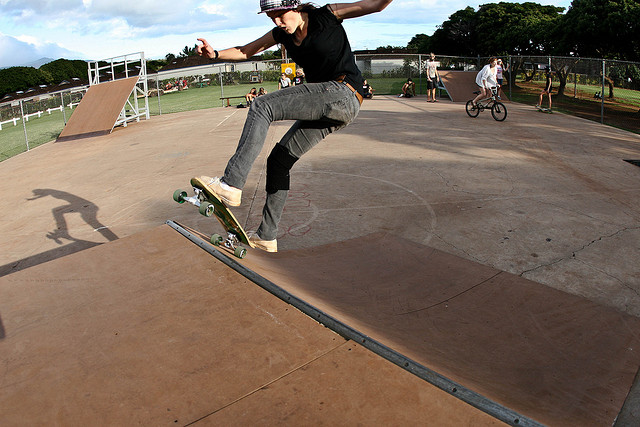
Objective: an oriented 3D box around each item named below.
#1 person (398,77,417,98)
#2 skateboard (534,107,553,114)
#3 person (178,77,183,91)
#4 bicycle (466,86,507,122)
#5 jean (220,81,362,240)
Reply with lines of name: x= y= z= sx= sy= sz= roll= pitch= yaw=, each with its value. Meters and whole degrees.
person: x=5.445 y=-7.676 z=23.751 sx=0.665 sy=0.994 sz=1.284 roll=7 pitch=24 yaw=27
skateboard: x=9.847 y=-4.509 z=16.933 sx=0.239 sy=0.134 sz=0.830 roll=-10 pitch=23 yaw=-22
person: x=-17.478 y=-16.235 z=48.081 sx=0.649 sy=1.327 sz=1.771 roll=-11 pitch=23 yaw=-16
bicycle: x=6.693 y=-4.420 z=15.512 sx=0.929 sy=1.225 sz=2.027 roll=-18 pitch=26 yaw=-22
jean: x=-0.264 y=-0.407 z=3.429 sx=1.249 sy=1.410 sz=0.410 roll=-10 pitch=23 yaw=-14
